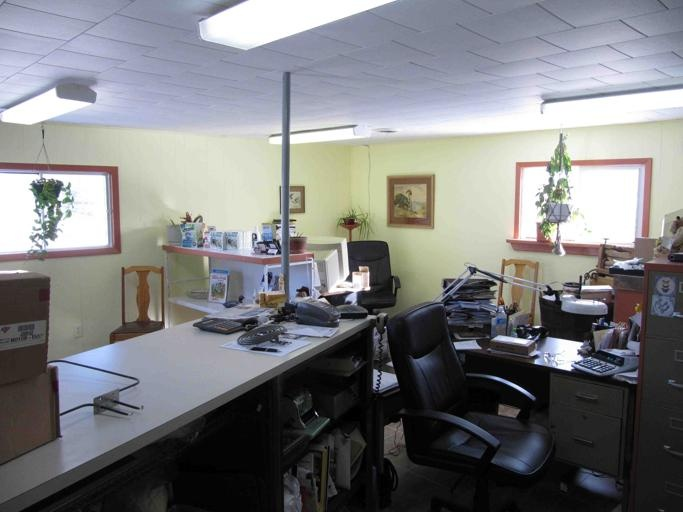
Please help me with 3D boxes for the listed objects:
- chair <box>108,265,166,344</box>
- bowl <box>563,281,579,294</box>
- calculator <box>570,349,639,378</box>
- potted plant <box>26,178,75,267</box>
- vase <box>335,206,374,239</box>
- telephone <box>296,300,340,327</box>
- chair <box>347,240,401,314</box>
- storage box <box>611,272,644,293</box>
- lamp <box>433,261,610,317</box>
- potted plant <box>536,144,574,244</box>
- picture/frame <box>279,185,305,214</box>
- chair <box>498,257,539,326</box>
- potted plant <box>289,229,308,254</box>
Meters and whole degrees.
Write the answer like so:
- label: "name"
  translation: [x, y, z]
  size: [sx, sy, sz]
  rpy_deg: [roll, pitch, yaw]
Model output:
- label: "chair"
  translation: [-1.978, 0.470, 4.882]
  size: [0.493, 1.075, 0.533]
  rpy_deg: [5, 7, -14]
- label: "bowl"
  translation: [2.167, 0.302, 4.703]
  size: [0.122, 0.093, 0.125]
  rpy_deg: [-1, 5, 0]
- label: "calculator"
  translation: [1.580, 0.633, 2.952]
  size: [0.381, 0.093, 0.258]
  rpy_deg: [-3, 7, -25]
- label: "potted plant"
  translation: [-2.564, -0.339, 4.378]
  size: [0.363, 0.750, 0.501]
  rpy_deg: [-4, 7, -30]
- label: "vase"
  translation: [0.158, -0.457, 7.096]
  size: [0.496, 0.508, 0.359]
  rpy_deg: [1, 5, -11]
- label: "telephone"
  translation: [-0.126, 0.317, 2.804]
  size: [0.190, 0.095, 0.138]
  rpy_deg: [2, 1, 26]
- label: "chair"
  translation: [0.433, 0.227, 6.345]
  size: [0.834, 1.356, 0.813]
  rpy_deg: [-1, -3, -5]
- label: "storage box"
  translation: [2.208, 0.210, 3.844]
  size: [0.201, 0.133, 0.207]
  rpy_deg: [2, 3, 39]
- label: "lamp"
  translation: [1.071, 0.195, 3.078]
  size: [1.033, 0.387, 0.282]
  rpy_deg: [-5, 2, 3]
- label: "potted plant"
  translation: [2.171, -0.684, 5.038]
  size: [0.359, 1.021, 0.413]
  rpy_deg: [5, 4, -2]
- label: "picture/frame"
  translation: [-0.585, -0.731, 6.478]
  size: [0.089, 0.366, 0.293]
  rpy_deg: [3, 7, 28]
- label: "chair"
  translation: [2.086, 0.335, 5.825]
  size: [0.474, 1.027, 0.526]
  rpy_deg: [8, 8, 37]
- label: "potted plant"
  translation: [-0.404, -0.132, 4.464]
  size: [0.171, 0.124, 0.177]
  rpy_deg: [0, 0, -1]
